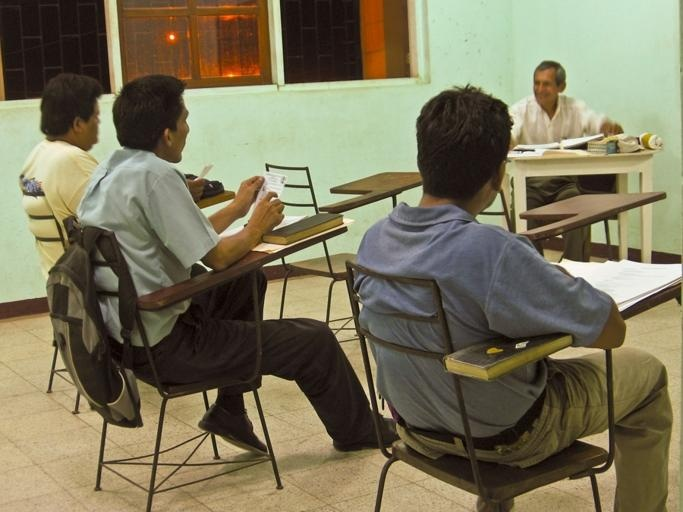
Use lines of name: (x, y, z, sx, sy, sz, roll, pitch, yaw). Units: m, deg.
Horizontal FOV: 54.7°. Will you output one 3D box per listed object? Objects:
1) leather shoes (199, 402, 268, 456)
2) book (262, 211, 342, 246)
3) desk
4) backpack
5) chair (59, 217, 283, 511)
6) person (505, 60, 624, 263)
leather shoes: (-0.470, 0.798, 3.030, 0.387, 0.163, 0.147, 34, -28, -30)
book: (-0.132, -0.127, 2.783, 0.145, 0.044, 0.292, 3, 23, 42)
desk: (1.838, -0.308, 5.303, 1.086, 1.159, 0.987, -2, 3, -5)
backpack: (-0.975, 0.291, 2.624, 0.417, 0.845, 0.212, 8, 16, 42)
chair: (-0.842, 0.381, 3.308, 1.195, 1.718, 0.862, -5, 9, -35)
person: (1.803, -0.822, 5.661, 0.928, 1.773, 0.910, 1, 6, 9)
